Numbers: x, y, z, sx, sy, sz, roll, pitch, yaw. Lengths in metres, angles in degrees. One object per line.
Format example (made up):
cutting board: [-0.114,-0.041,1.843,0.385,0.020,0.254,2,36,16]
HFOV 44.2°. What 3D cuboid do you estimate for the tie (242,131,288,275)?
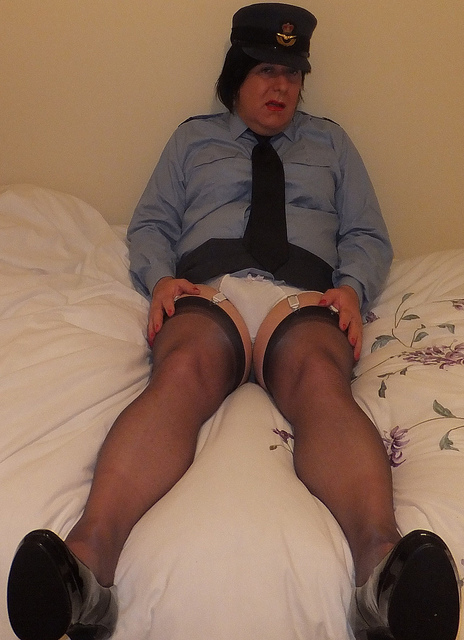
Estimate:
tie: [0.074,-0.302,1.388,0.115,0.031,0.449,7,58,-11]
